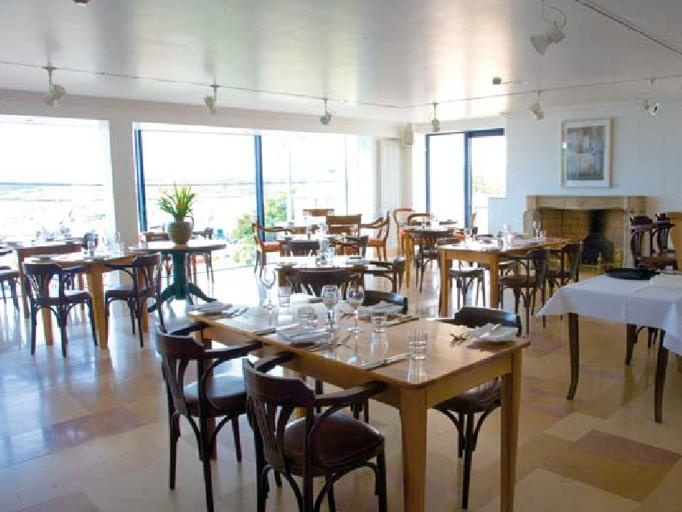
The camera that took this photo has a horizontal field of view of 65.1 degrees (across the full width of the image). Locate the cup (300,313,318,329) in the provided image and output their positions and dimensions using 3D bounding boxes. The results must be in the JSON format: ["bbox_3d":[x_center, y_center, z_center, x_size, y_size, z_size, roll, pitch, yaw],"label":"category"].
[{"bbox_3d":[-0.189,0.374,3.084,0.069,0.036,0.094,3,7,7],"label":"cup"}]

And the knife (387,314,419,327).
[{"bbox_3d":[0.349,0.381,3.183,0.299,0.031,0.111,-9,8,-44],"label":"knife"}]

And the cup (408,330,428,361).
[{"bbox_3d":[0.370,0.434,2.623,0.118,0.131,0.112,0,8,0],"label":"cup"}]

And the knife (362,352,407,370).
[{"bbox_3d":[0.213,0.515,2.597,0.285,0.040,0.074,-9,12,-42],"label":"knife"}]

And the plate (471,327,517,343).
[{"bbox_3d":[0.842,0.417,2.857,0.257,0.058,0.144,-7,7,-31],"label":"plate"}]

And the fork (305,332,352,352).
[{"bbox_3d":[-0.041,0.435,2.857,0.068,0.062,0.414,11,9,34],"label":"fork"}]

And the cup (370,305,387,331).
[{"bbox_3d":[0.211,0.355,2.990,0.075,0.117,0.120,-3,6,-1],"label":"cup"}]
